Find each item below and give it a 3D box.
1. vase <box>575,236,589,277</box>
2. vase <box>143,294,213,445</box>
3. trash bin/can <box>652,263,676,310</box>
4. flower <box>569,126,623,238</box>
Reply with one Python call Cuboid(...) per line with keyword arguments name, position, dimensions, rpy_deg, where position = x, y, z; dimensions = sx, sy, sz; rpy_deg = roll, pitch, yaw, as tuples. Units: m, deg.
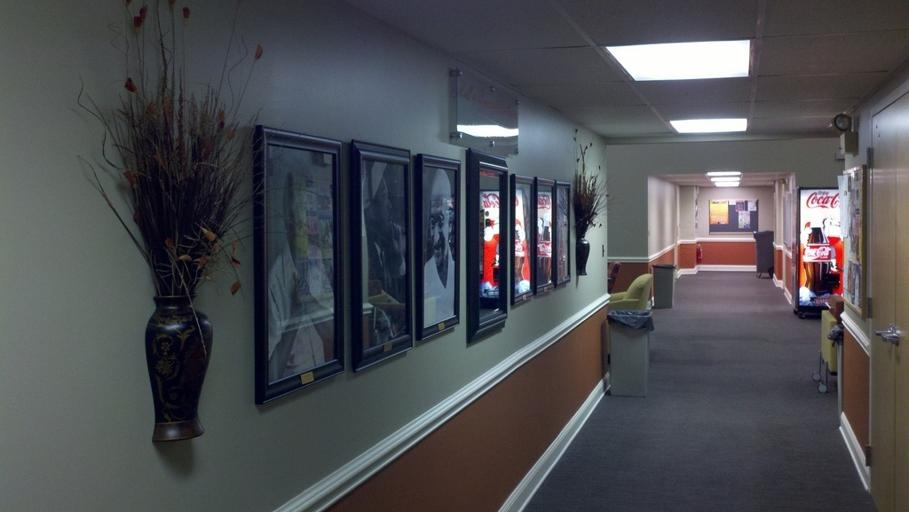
Cuboid(name="vase", position=(1.502, 0.006, 6.730), dimensions=(0.107, 0.445, 0.278), rpy_deg=(0, 6, 28))
Cuboid(name="vase", position=(-1.058, 0.442, 2.219), dimensions=(0.223, 0.590, 0.137), rpy_deg=(-2, 6, 11))
Cuboid(name="trash bin/can", position=(4.874, 0.684, 13.534), dimensions=(0.687, 0.951, 0.643), rpy_deg=(0, -3, 26))
Cuboid(name="flower", position=(1.690, -0.866, 7.110), dimensions=(0.344, 1.282, 1.265), rpy_deg=(-1, 5, 17))
